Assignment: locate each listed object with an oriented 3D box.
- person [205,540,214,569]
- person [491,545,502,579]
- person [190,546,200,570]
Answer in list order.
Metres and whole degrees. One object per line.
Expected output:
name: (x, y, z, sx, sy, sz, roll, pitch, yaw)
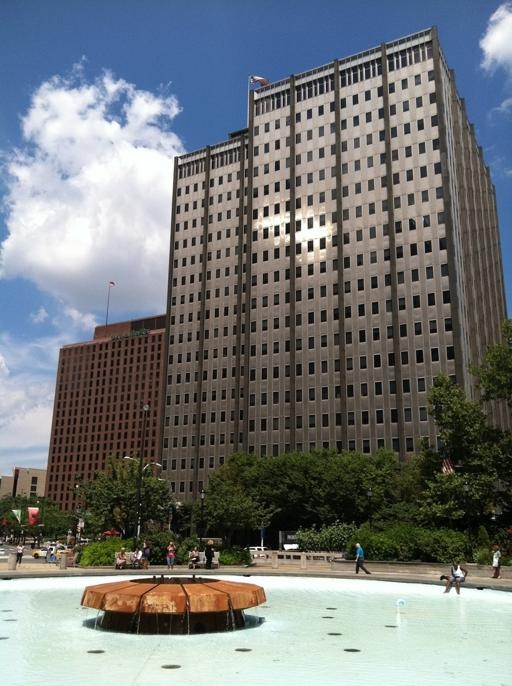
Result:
person: (-2.964, 13.291, 34.318, 0.471, 1.560, 1.865, -1, -13, -6)
person: (12.752, 11.643, 29.254, 0.529, 1.463, 2.731, -7, -14, 21)
person: (-3.892, 13.784, 34.748, 0.530, 1.677, 0.689, -1, 12, -3)
